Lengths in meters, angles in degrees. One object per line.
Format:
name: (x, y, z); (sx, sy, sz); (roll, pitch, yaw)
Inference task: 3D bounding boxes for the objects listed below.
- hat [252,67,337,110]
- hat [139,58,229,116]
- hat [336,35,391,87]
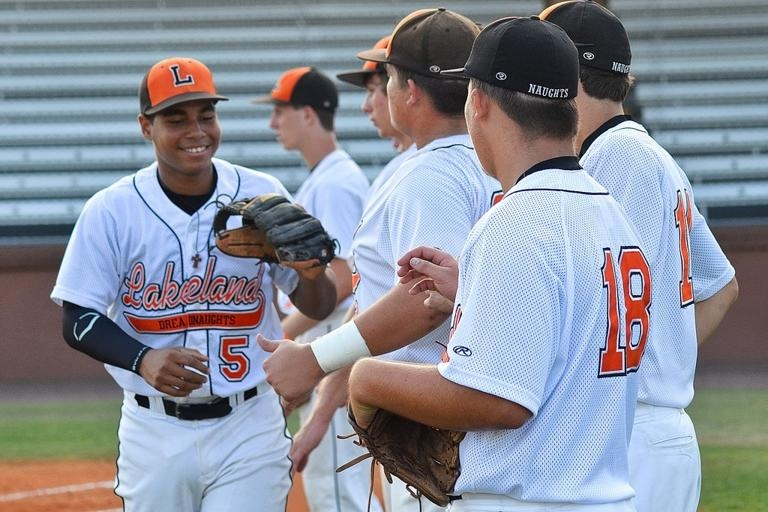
hat: (-0.852, -1.776, 15.972); (0.642, 0.339, 0.446); (1, 1, -2)
hat: (-1.984, -1.563, 13.740); (0.505, 0.324, 0.633); (-10, 10, -28)
hat: (-0.218, -2.066, 15.785); (0.746, 0.372, 0.465); (1, 5, -2)
